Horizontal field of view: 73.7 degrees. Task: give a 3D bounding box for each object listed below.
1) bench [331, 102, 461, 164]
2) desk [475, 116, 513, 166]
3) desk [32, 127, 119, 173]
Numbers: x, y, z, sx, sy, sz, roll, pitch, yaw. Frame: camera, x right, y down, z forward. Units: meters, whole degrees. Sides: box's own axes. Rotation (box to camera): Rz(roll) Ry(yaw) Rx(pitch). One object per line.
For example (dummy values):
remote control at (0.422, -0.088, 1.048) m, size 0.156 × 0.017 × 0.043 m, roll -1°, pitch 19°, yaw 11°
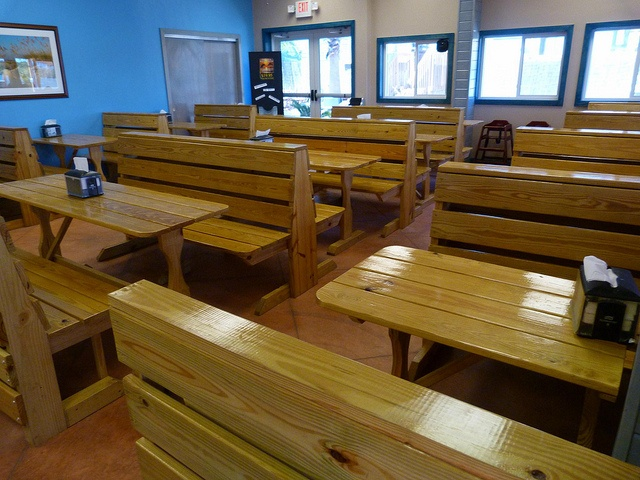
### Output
bench at (1.115, -1.333, 6.625) m, size 0.872 × 0.689 × 1.790 m, roll -10°, pitch 6°, yaw -39°
desk at (3.316, -2.022, 8.196) m, size 0.572 × 0.488 × 0.459 m, roll 14°, pitch 32°, yaw 22°
desk at (-3.207, -1.156, 5.658) m, size 0.940 × 0.334 × 0.459 m, roll 11°, pitch 29°, yaw 24°
